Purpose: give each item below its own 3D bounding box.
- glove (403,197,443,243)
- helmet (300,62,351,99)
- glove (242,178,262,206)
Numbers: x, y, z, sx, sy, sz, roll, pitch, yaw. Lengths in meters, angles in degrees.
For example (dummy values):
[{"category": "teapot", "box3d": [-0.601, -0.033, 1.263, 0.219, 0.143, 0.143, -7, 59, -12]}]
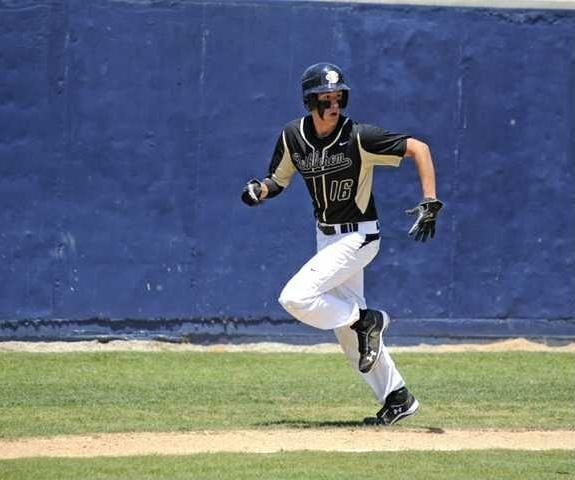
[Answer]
[{"category": "glove", "box3d": [1.340, -0.207, 15.175, 0.367, 0.425, 0.203, 7, 20, -7]}, {"category": "helmet", "box3d": [0.378, -1.560, 15.420, 0.410, 0.409, 0.524, -8, 10, -34]}, {"category": "glove", "box3d": [-0.353, -0.477, 15.536, 0.118, 0.189, 0.253, 11, 30, -9]}]
